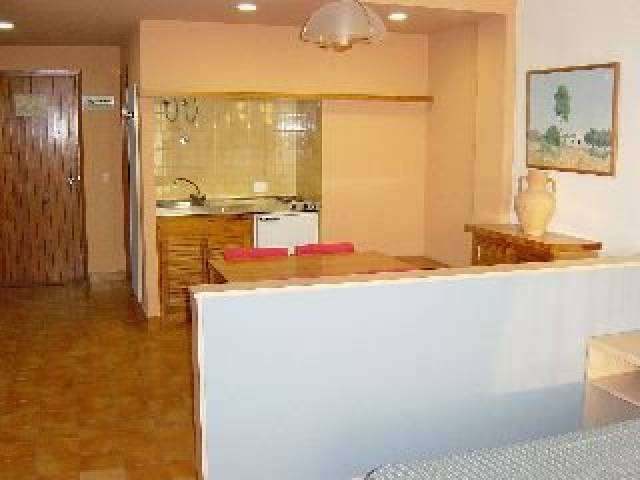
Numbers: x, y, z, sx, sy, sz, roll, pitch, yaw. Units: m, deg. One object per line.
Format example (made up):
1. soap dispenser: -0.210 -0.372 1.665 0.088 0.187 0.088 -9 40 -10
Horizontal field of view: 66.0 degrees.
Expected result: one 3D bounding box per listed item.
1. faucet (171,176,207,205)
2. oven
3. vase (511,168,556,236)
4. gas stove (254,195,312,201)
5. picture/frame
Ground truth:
1. faucet: -1.482 -0.561 5.544 0.363 0.319 0.125 -3 15 -13
2. oven: -0.406 -0.164 5.509 0.676 0.600 0.469 -1 8 -21
3. vase: 1.682 -0.304 3.878 0.341 0.477 0.317 4 11 21
4. gas stove: -0.416 -0.496 5.760 0.581 0.060 0.235 1 11 1
5. picture/frame: 1.938 -0.939 3.780 0.067 0.802 0.984 -3 9 -23
